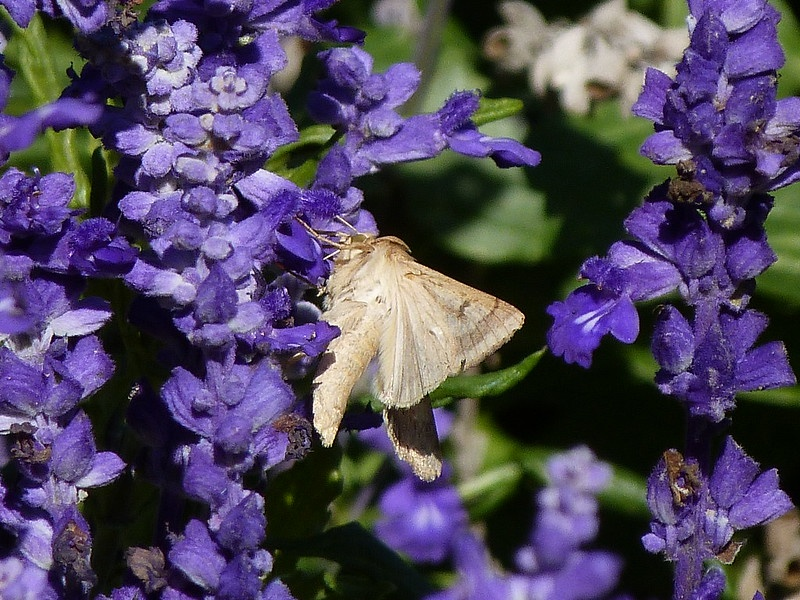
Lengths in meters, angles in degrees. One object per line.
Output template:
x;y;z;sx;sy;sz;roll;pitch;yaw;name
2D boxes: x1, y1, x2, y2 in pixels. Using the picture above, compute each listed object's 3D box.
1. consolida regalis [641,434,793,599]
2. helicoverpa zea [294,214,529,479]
0.364;0.262;1.327;0.175;0.179;0.124;-33;49;-18;consolida regalis
0.029;0.102;1.861;0.175;0.580;0.520;3;9;-31;helicoverpa zea
